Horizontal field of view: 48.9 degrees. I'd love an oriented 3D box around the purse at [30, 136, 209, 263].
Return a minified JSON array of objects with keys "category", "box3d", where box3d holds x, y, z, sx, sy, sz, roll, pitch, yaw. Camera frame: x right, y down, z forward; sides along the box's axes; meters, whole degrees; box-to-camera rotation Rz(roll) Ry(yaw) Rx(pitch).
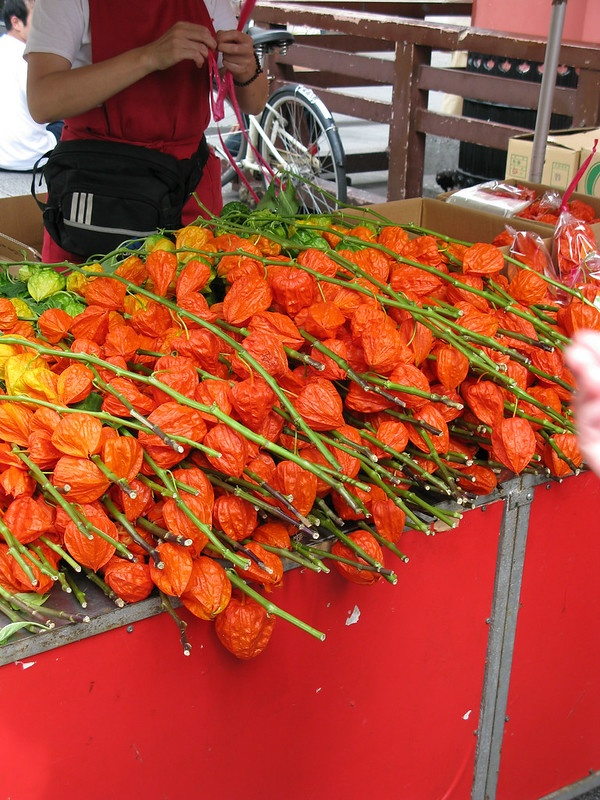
[{"category":"purse","box3d":[-0.521,-0.609,1.993,0.448,0.277,0.528,8,26,6]}]
